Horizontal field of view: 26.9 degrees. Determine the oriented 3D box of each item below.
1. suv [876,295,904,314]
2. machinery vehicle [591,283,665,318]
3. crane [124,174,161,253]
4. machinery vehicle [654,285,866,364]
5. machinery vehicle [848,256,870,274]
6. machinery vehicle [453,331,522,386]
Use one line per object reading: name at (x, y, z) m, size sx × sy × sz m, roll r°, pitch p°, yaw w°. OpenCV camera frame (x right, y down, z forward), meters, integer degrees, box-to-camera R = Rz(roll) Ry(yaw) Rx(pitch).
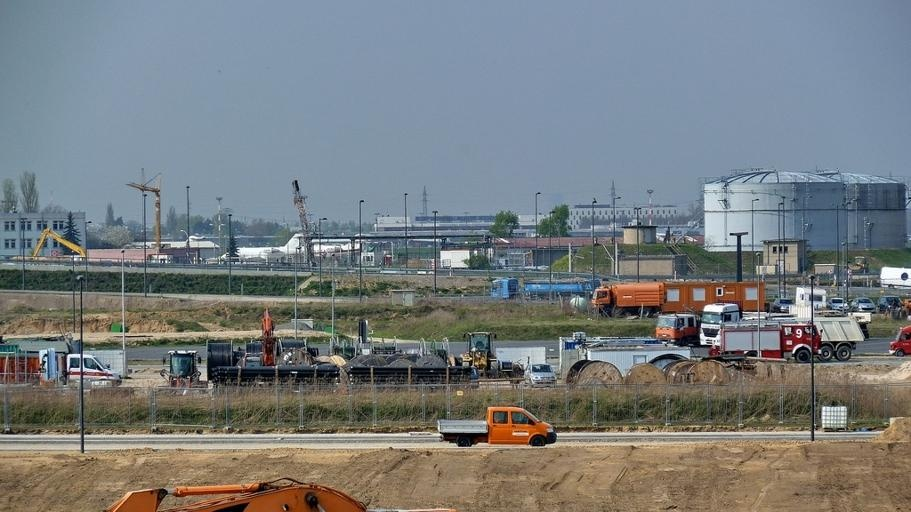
suv at (51.760, 5.807, 226.949) m, size 1.680 × 1.349 × 2.689 m, roll 1°, pitch -7°, yaw -18°
machinery vehicle at (20.373, 5.352, 224.071) m, size 7.963 × 3.972 × 1.259 m, roll 1°, pitch 11°, yaw 14°
crane at (-45.565, -3.725, 277.910) m, size 8.203 × 12.198 × 10.572 m, roll 0°, pitch -1°, yaw -9°
machinery vehicle at (33.924, 7.686, 207.993) m, size 20.981 × 7.509 × 13.856 m, roll 1°, pitch 11°, yaw 15°
machinery vehicle at (56.576, 1.569, 267.985) m, size 3.227 × 1.871 × 3.104 m, roll 0°, pitch 6°, yaw 10°
machinery vehicle at (3.062, 11.186, 203.332) m, size 4.955 × 5.438 × 6.956 m, roll 2°, pitch -2°, yaw -5°
